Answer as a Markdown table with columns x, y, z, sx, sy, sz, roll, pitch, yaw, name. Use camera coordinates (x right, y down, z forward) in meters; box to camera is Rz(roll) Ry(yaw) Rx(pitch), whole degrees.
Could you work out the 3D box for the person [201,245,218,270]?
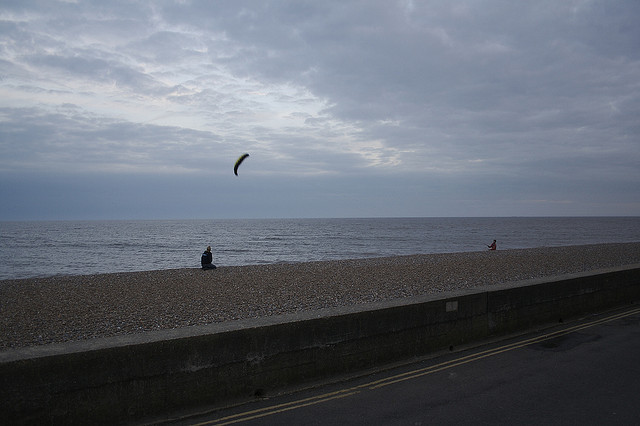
| x | y | z | sx | sy | sz | roll | pitch | yaw | name |
| --- | --- | --- | --- | --- | --- | --- | --- | --- | --- |
| -7.057 | 2.846 | 29.201 | 0.742 | 1.369 | 0.909 | -2 | 5 | -17 | person |
